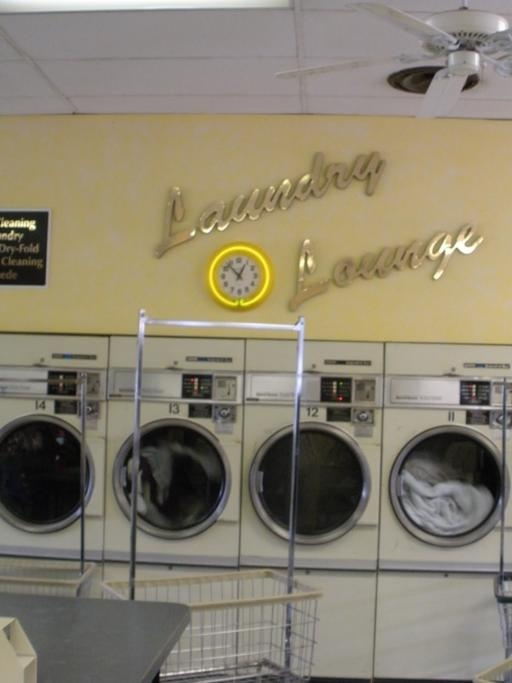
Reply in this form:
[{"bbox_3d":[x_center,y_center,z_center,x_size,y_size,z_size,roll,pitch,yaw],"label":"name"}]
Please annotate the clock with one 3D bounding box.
[{"bbox_3d":[-0.075,-0.338,4.246,0.377,0.365,0.060,1,-4,-2],"label":"clock"}]
